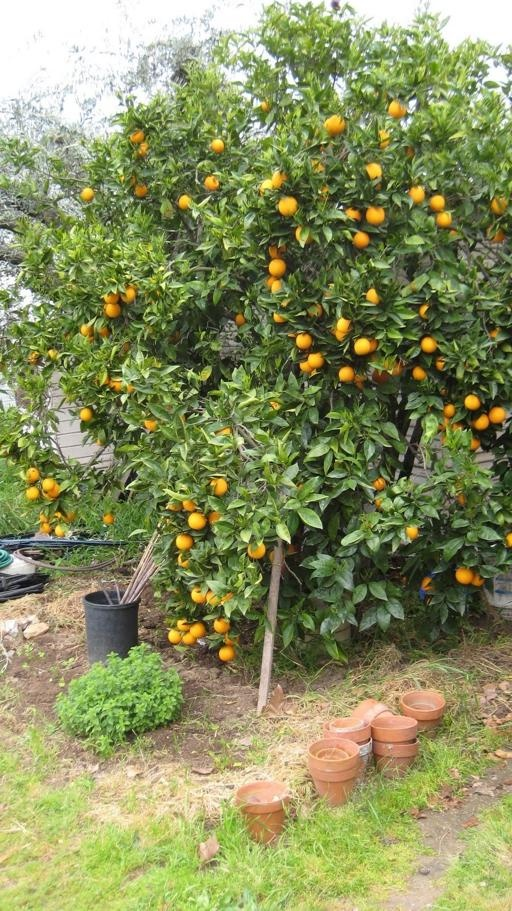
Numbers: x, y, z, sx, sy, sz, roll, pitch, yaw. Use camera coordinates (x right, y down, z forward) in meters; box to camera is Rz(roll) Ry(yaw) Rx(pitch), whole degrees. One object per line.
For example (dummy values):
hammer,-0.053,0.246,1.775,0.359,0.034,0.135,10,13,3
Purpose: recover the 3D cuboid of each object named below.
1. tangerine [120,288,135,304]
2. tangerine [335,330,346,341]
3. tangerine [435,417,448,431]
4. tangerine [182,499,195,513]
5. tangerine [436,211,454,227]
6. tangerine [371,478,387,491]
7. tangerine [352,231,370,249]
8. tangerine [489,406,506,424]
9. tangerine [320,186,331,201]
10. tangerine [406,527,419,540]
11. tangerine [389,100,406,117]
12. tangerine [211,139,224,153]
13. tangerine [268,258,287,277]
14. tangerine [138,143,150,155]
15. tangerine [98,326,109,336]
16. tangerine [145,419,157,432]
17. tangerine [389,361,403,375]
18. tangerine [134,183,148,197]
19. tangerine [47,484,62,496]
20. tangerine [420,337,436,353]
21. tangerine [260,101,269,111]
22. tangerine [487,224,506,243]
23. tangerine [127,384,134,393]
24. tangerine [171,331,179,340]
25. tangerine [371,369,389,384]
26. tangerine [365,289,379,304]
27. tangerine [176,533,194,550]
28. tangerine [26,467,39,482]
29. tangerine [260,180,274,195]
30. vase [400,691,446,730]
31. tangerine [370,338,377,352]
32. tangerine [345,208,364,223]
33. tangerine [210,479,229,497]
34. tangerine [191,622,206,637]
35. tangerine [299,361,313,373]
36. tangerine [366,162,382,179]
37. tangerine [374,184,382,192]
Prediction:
tangerine,-0.634,-0.789,3.324,0.064,0.080,0.064,-4,16,-18
tangerine,0.377,-0.540,3.023,0.035,0.036,0.043,-6,-36,13
tangerine,0.862,-0.153,3.126,0.043,0.043,0.052,-15,-43,-9
tangerine,-0.284,0.203,2.847,0.057,0.059,0.070,1,-35,3
tangerine,0.854,-1.073,3.055,0.068,0.083,0.068,9,16,39
tangerine,0.591,0.139,3.228,0.059,0.061,0.071,11,-37,22
tangerine,0.488,-0.992,3.130,0.065,0.066,0.078,-8,-42,5
tangerine,1.101,-0.188,3.119,0.070,0.084,0.071,1,6,-10
tangerine,0.309,-1.177,3.011,0.042,0.051,0.042,3,32,7
tangerine,0.660,0.328,2.861,0.038,0.053,0.097,-2,7,26
tangerine,0.651,-1.599,3.090,0.060,0.059,0.070,30,-39,2
tangerine,-0.212,-1.702,3.690,0.057,0.058,0.071,30,-31,19
tangerine,0.113,-0.923,3.281,0.086,0.088,0.103,0,-31,7
tangerine,-0.635,-1.729,3.782,0.055,0.075,0.055,-1,23,2
tangerine,-0.807,-0.654,3.555,0.044,0.043,0.059,34,23,-10
tangerine,-0.483,-0.137,3.057,0.055,0.062,0.105,-6,6,-11
tangerine,0.647,-0.409,3.123,0.050,0.060,0.051,8,30,30
tangerine,-0.670,-1.544,3.951,0.063,0.063,0.075,25,-12,12
tangerine,-1.079,0.195,3.612,0.061,0.062,0.074,-10,-42,-25
tangerine,0.789,-0.508,3.087,0.065,0.067,0.078,-15,-38,13
tangerine,0.044,-1.888,3.624,0.043,0.036,0.050,1,28,0
tangerine,1.124,-1.035,3.150,0.061,0.076,0.062,4,12,19
tangerine,-0.576,-0.308,3.073,0.030,0.031,0.036,9,-10,19
tangerine,-0.469,-0.688,3.891,0.040,0.041,0.050,-6,-34,1
tangerine,0.599,-0.382,3.246,0.052,0.055,0.054,12,33,21
tangerine,0.509,-0.699,2.952,0.043,0.074,0.068,1,9,45
tangerine,-0.319,0.389,2.991,0.067,0.081,0.068,-5,35,-12
tangerine,-1.191,0.108,3.581,0.064,0.094,0.058,-8,7,-22
tangerine,0.047,-1.219,3.043,0.046,0.075,0.095,-5,6,0
vase,0.709,1.091,2.895,0.145,0.077,0.144,2,-3,-26
tangerine,0.538,-0.495,3.023,0.037,0.047,0.039,6,42,21
tangerine,0.448,-1.106,3.078,0.049,0.058,0.101,0,8,40
tangerine,-0.151,0.131,2.777,0.069,0.070,0.085,14,-41,9
tangerine,-0.270,0.832,3.259,0.068,0.080,0.067,-6,3,-40
tangerine,0.238,-0.425,3.196,0.055,0.056,0.066,-4,-40,14
tangerine,0.515,-1.242,2.940,0.062,0.063,0.076,18,-30,24
tangerine,0.549,-1.211,3.045,0.025,0.040,0.054,-3,7,18
